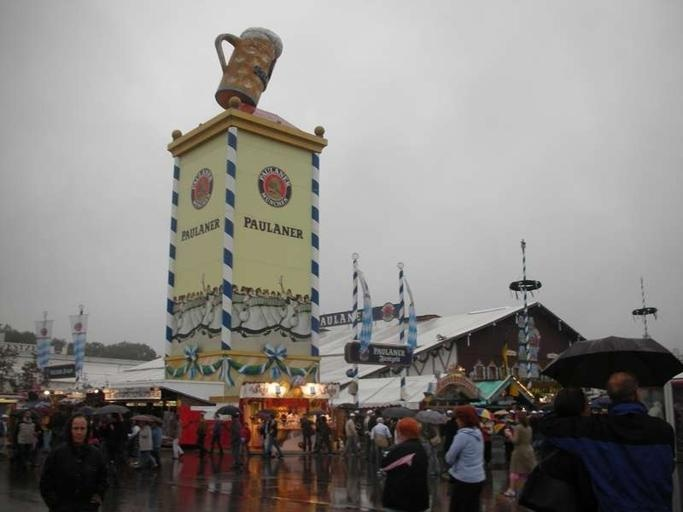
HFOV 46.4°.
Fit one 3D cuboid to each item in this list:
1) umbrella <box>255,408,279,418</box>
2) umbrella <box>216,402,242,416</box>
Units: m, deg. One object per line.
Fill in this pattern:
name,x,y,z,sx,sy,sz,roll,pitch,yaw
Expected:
umbrella,-2.806,5.814,29.470,0.810,0.404,1.297,-1,-10,-2
umbrella,-4.007,5.471,28.442,1.072,0.482,1.114,0,-22,0
